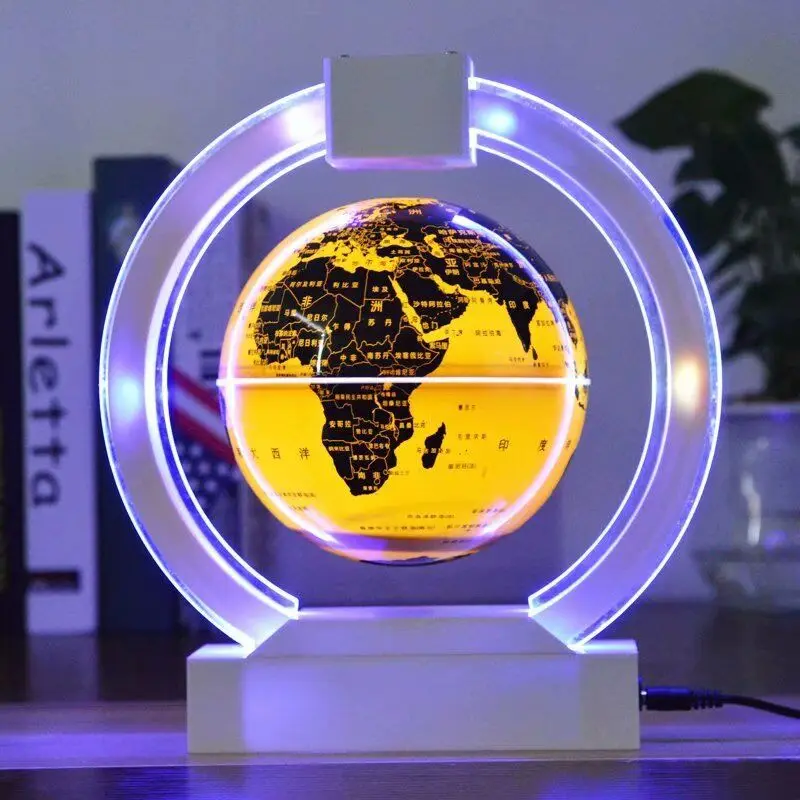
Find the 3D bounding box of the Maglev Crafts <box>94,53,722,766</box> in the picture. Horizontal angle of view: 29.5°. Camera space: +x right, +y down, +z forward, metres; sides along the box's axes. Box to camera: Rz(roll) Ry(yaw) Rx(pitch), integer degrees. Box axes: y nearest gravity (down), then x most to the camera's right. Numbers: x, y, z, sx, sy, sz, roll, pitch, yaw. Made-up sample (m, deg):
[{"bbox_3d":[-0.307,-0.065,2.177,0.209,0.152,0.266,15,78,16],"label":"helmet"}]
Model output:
[{"bbox_3d":[0.009,0.033,2.001,0.815,0.153,0.854,0,85,-1],"label":"Maglev Crafts"}]
